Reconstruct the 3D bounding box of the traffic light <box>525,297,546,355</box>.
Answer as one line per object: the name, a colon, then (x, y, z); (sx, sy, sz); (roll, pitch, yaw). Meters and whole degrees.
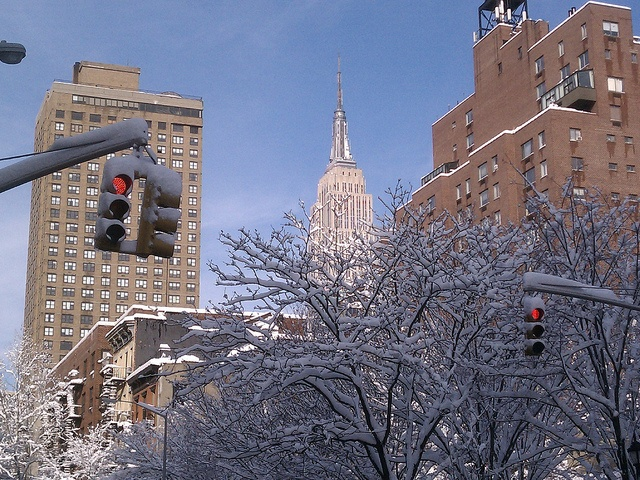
traffic light: (7.622, 2.956, 44.150); (0.694, 2.112, 1.006); (-2, -26, 5)
